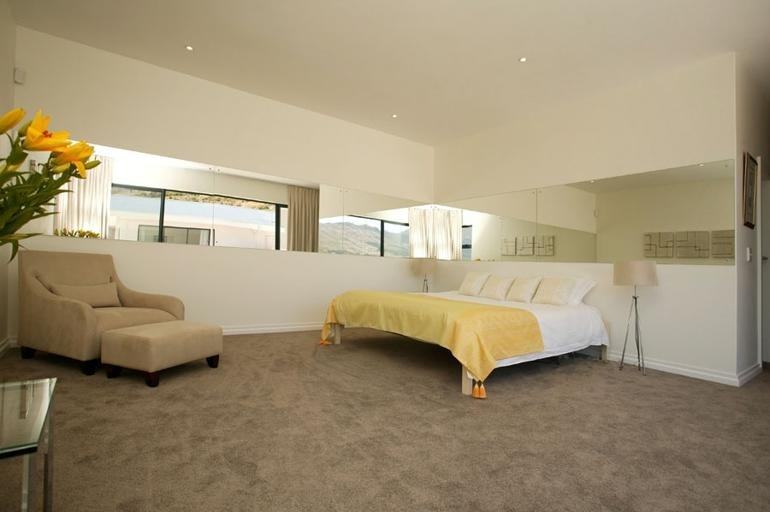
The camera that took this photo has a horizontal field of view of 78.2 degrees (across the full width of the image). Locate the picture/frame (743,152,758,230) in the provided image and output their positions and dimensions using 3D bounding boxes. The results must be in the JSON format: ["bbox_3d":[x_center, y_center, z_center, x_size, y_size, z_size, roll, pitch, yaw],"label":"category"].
[{"bbox_3d":[4.535,-0.806,5.870,0.027,0.855,0.773,1,12,29],"label":"picture/frame"}]

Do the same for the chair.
[{"bbox_3d":[-3.344,0.597,5.625,1.613,1.252,1.667,5,-2,-42],"label":"chair"}]

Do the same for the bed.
[{"bbox_3d":[1.147,0.841,6.452,2.706,1.154,2.680,0,1,-37],"label":"bed"}]

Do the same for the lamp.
[{"bbox_3d":[3.087,0.703,5.859,0.480,1.365,0.531,1,1,32],"label":"lamp"}]

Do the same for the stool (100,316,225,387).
[{"bbox_3d":[-2.485,0.943,5.048,0.634,0.475,0.933,1,1,29],"label":"stool"}]
